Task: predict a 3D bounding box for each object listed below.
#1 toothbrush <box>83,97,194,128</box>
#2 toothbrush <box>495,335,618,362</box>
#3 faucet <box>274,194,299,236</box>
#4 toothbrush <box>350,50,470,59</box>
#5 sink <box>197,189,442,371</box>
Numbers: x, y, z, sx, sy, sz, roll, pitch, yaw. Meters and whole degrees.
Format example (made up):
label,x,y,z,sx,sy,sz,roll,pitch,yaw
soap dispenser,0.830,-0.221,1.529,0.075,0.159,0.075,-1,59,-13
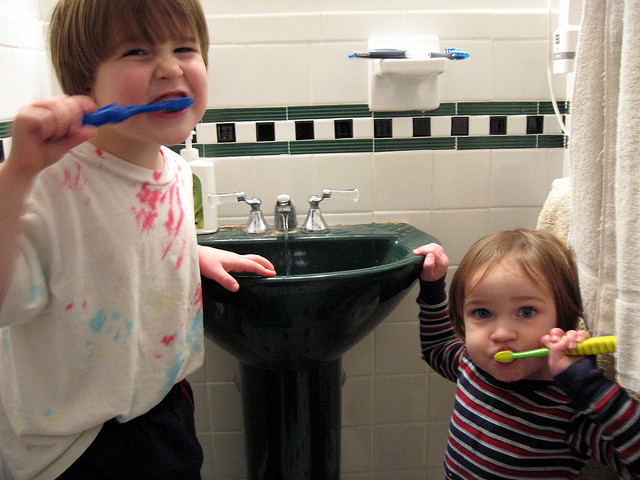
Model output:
label,x,y,z,sx,sy,sz,roll,pitch,yaw
toothbrush,-0.272,-0.200,1.007,0.210,0.044,0.049,-10,45,-31
toothbrush,0.422,0.193,1.108,0.201,0.029,0.031,-6,-30,21
faucet,-0.086,-0.065,1.594,0.058,0.091,0.095,-8,3,4
toothbrush,0.220,-0.456,1.517,0.290,0.027,0.051,-2,7,-9
sink,0.001,0.090,1.424,0.550,0.396,0.511,-2,7,-11
